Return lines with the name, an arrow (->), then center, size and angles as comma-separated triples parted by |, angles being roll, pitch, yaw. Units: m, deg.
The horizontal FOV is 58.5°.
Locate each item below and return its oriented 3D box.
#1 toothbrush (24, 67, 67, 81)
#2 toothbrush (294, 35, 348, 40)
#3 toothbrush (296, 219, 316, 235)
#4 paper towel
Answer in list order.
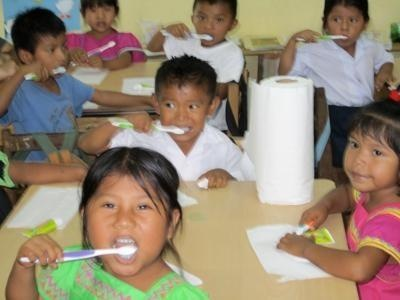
toothbrush -> -0.876, -0.424, 2.008 | 0.222, 0.064, 0.156 | -11, 20, -25
toothbrush -> 0.910, -0.785, 2.494 | 0.191, 0.034, 0.122 | -7, 19, -15
toothbrush -> 0.329, 0.247, 1.121 | 0.093, 0.032, 0.025 | -17, 26, -39
paper towel -> 0.282, -0.030, 1.275 | 0.256, 0.401, 0.236 | -4, 10, -17
